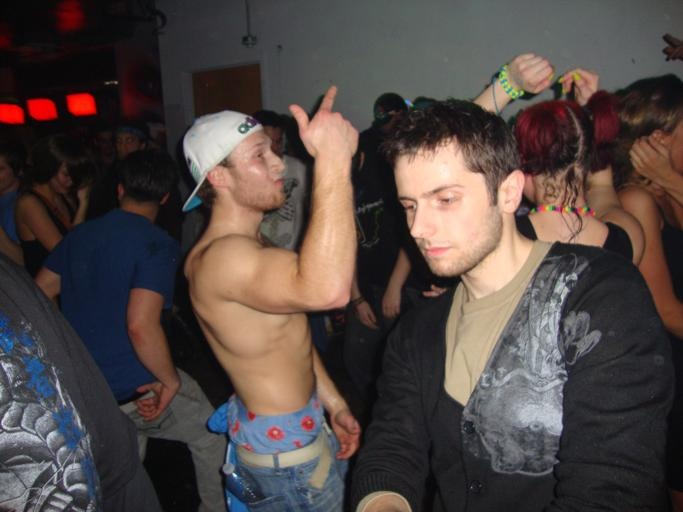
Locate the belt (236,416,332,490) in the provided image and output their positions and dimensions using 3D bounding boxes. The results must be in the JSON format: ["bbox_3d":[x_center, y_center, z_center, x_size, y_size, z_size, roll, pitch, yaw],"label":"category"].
[{"bbox_3d":[-0.244,0.947,2.546,0.289,0.243,0.303,-11,4,1],"label":"belt"}]
